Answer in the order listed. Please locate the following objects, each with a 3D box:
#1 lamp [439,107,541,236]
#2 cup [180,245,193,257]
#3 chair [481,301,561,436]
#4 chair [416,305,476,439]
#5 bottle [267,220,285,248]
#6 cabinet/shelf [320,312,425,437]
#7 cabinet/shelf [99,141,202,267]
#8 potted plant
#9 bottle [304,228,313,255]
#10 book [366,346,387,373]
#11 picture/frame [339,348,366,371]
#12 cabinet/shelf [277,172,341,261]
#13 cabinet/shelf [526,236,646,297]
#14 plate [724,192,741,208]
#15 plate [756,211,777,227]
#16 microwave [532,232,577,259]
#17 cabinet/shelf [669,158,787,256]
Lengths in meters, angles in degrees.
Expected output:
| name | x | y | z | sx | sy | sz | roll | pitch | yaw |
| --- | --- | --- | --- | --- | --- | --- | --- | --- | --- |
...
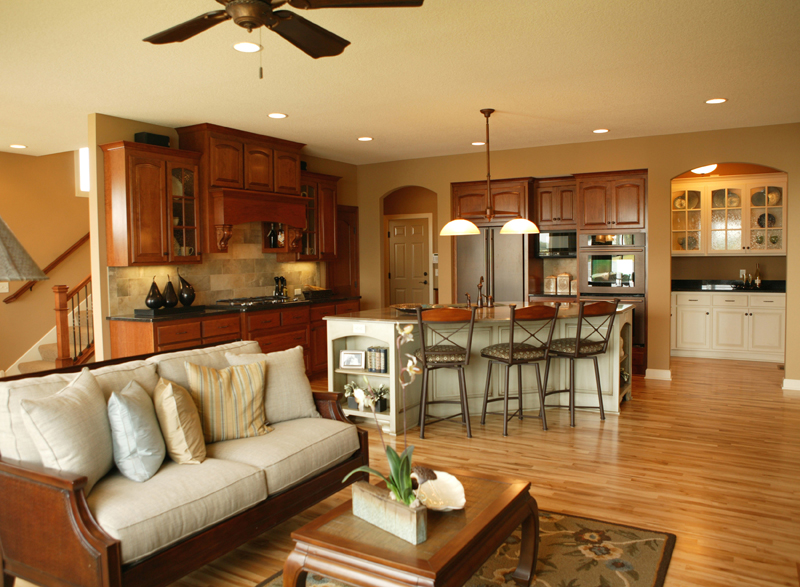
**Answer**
| name | x | y | z | sx | sy | sz | roll | pitch | yaw |
| --- | --- | --- | --- | --- | --- | --- | --- | --- | --- |
| lamp | 0.975 | -1.316 | 6.399 | 1.306 | 1.340 | 0.877 | 2 | 12 | 26 |
| cup | -2.359 | -0.475 | 6.507 | 0.077 | 0.113 | 0.129 | -1 | -1 | 28 |
| chair | 1.191 | 0.666 | 5.654 | 0.819 | 1.211 | 0.738 | -2 | 10 | -5 |
| chair | 0.439 | 0.689 | 5.513 | 0.536 | 1.218 | 0.705 | -1 | 10 | 3 |
| bottle | -1.636 | -0.762 | 7.721 | 0.281 | 0.337 | 0.141 | -1 | 10 | -1 |
| cabinet/shelf | -0.283 | 0.727 | 5.782 | 0.954 | 1.011 | 0.906 | 4 | 6 | 28 |
| cabinet/shelf | -2.581 | -0.930 | 6.181 | 0.999 | 1.240 | 0.477 | -5 | 11 | -22 |
| potted plant | -0.048 | 0.959 | 2.883 | 0.148 | 0.384 | 0.489 | 9 | -4 | -43 |
| bottle | -1.266 | -0.718 | 8.149 | 0.048 | 0.333 | 0.202 | 7 | 12 | 36 |
| book | -0.196 | 0.595 | 5.580 | 0.209 | 0.262 | 0.282 | 0 | -1 | 23 |
| picture/frame | -0.458 | 0.627 | 5.631 | 0.308 | 0.203 | 0.164 | -3 | -6 | 28 |
| cabinet/shelf | -1.260 | -1.036 | 7.928 | 0.454 | 1.573 | 1.316 | -1 | -3 | 16 |
| cabinet/shelf | 2.588 | -0.424 | 8.096 | 1.553 | 0.919 | 0.771 | 3 | 10 | 25 |
| plate | 4.892 | -1.389 | 8.633 | 0.207 | 0.154 | 0.221 | 5 | 10 | 34 |
| plate | 5.312 | -1.064 | 8.498 | 0.244 | 0.212 | 0.059 | 4 | 11 | 29 |
| microwave | 2.167 | -0.673 | 8.139 | 0.542 | 0.328 | 0.352 | -1 | -2 | 36 |
| cabinet/shelf | 4.879 | -1.092 | 8.915 | 1.585 | 1.214 | 0.535 | 0 | -5 | 13 |
